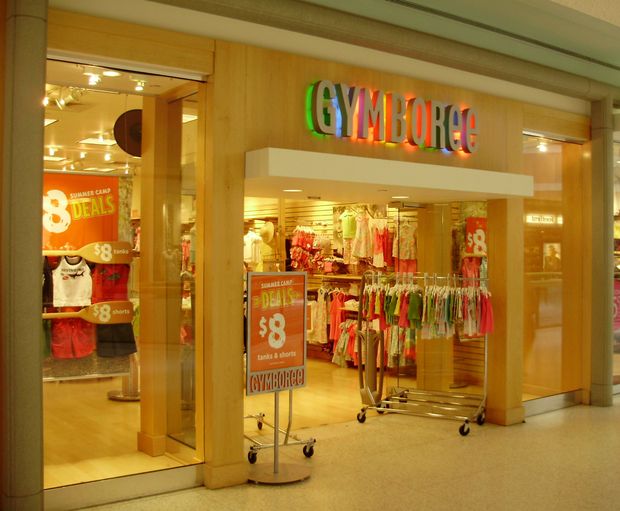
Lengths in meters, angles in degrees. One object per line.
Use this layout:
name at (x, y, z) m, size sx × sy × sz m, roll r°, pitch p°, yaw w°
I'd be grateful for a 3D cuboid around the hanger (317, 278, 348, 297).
hanger at (0.367, 0.523, 10.121) m, size 0.413 × 0.264 × 0.275 m, roll 0°, pitch -3°, yaw 44°

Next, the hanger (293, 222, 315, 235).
hanger at (-0.125, -0.517, 10.507) m, size 0.366 × 0.194 × 0.466 m, roll 1°, pitch 0°, yaw -2°
